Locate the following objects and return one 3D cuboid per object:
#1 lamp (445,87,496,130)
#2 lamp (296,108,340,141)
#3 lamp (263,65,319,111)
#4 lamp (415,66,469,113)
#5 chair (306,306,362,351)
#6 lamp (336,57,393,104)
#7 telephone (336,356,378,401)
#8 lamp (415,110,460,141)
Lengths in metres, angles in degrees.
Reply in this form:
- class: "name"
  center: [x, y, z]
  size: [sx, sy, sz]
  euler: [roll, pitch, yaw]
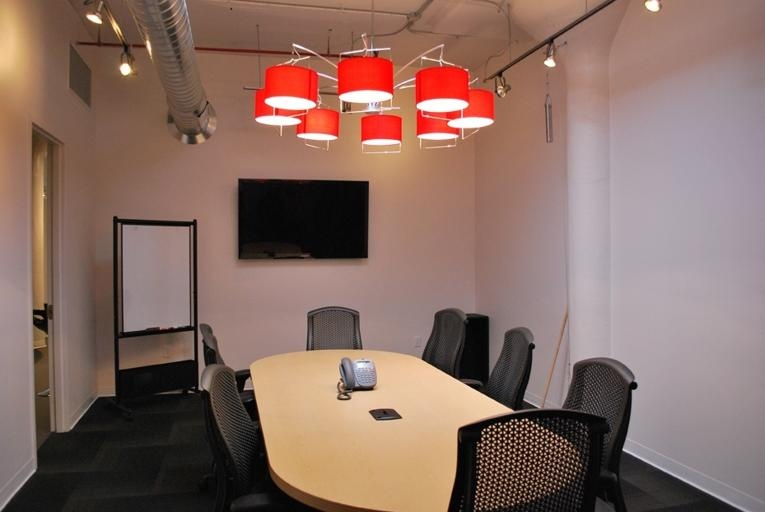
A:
- class: "lamp"
  center: [0.767, -1.198, 4.604]
  size: [0.362, 0.239, 0.369]
  euler: [-1, 2, 15]
- class: "lamp"
  center: [-0.588, -1.162, 5.016]
  size: [0.313, 0.200, 0.316]
  euler: [0, 7, -13]
- class: "lamp"
  center: [-0.713, -1.341, 4.287]
  size: [0.356, 0.205, 0.366]
  euler: [1, 1, 29]
- class: "lamp"
  center: [0.437, -1.228, 4.207]
  size: [0.350, 0.221, 0.356]
  euler: [0, 0, -8]
- class: "chair"
  center: [-0.510, 0.755, 6.115]
  size: [0.452, 0.730, 0.492]
  euler: [0, -1, -8]
- class: "lamp"
  center: [-0.120, -1.270, 4.106]
  size: [0.347, 0.213, 0.356]
  euler: [0, 1, 3]
- class: "telephone"
  center: [-0.203, 0.972, 4.498]
  size: [0.297, 0.156, 0.535]
  euler: [1, 18, 0]
- class: "lamp"
  center: [0.471, -1.075, 4.728]
  size: [0.291, 0.184, 0.299]
  euler: [1, 3, 11]
